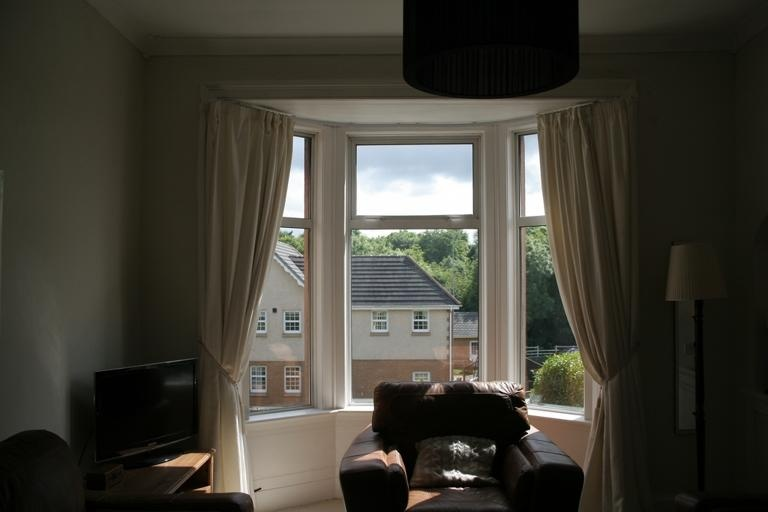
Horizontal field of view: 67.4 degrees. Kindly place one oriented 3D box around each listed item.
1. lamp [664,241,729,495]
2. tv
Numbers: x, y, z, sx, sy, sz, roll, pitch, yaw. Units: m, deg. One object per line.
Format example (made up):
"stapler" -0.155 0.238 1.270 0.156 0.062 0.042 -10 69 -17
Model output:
"lamp" 2.389 0.828 4.372 0.383 1.929 0.495 -3 -6 29
"tv" -1.714 1.129 4.104 0.257 0.650 0.712 -12 -13 43
